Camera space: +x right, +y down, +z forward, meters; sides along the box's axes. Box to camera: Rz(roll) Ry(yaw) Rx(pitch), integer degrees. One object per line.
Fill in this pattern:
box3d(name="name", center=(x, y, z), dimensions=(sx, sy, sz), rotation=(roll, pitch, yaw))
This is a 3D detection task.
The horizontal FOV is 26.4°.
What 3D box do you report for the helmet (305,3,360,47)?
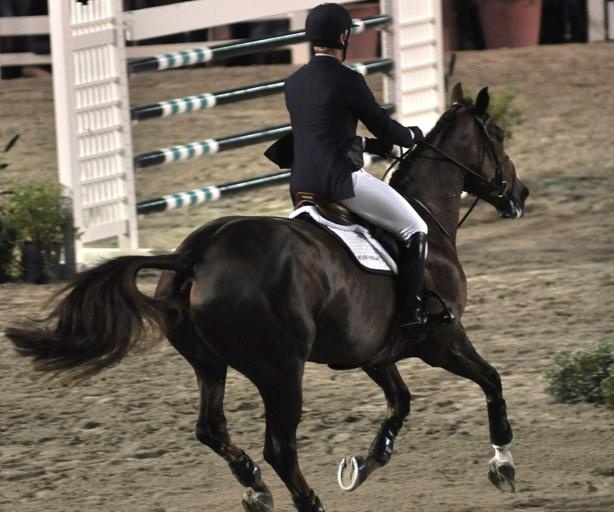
box3d(name="helmet", center=(0.143, -1.676, 9.470), dimensions=(0.346, 0.276, 0.373), rotation=(16, 35, 33))
